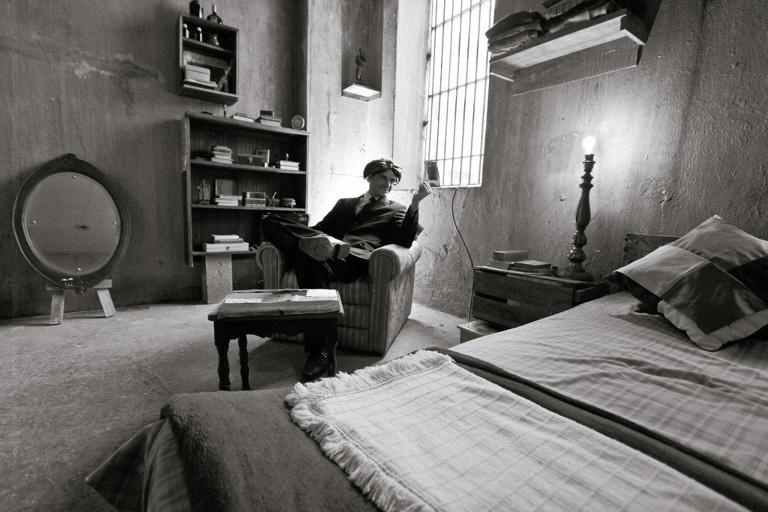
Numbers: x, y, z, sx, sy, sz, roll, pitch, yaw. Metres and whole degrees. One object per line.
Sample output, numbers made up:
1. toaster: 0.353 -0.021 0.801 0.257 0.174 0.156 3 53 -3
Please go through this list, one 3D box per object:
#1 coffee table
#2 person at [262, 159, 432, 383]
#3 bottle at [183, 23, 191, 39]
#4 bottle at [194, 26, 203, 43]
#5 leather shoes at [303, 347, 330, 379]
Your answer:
1. coffee table: -0.650 0.351 3.135 0.779 0.657 0.630 -1 4 -7
2. person: -0.391 -0.052 4.047 1.169 1.785 0.995 14 -9 -11
3. bottle: -1.802 -2.044 4.597 0.043 0.148 0.168 0 5 -10
4. bottle: -1.728 -2.052 4.693 0.074 0.140 0.131 -1 6 -21
5. leather shoes: -0.453 0.721 3.347 0.118 0.123 0.319 1 -2 7
